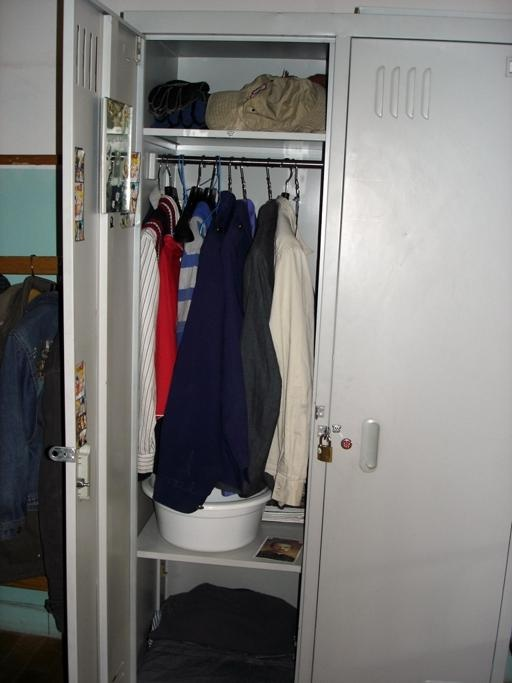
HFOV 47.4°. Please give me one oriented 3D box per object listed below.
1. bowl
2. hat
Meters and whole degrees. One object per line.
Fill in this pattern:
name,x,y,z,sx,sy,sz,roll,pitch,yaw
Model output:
bowl,-0.149,0.567,1.857,0.248,0.125,0.282,1,5,-5
hat,0.038,-0.659,1.710,0.230,0.224,0.088,2,-30,1
